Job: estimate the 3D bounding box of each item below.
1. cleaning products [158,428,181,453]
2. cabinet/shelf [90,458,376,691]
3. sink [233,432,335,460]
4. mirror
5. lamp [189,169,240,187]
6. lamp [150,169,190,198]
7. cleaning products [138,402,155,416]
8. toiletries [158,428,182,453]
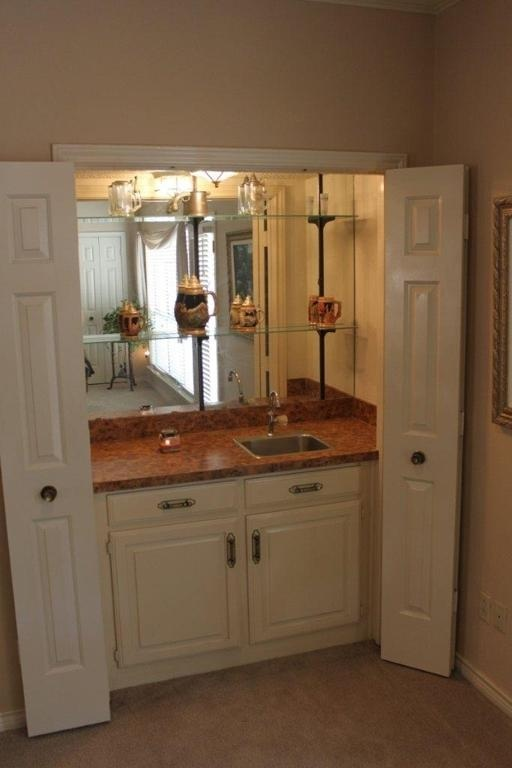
[{"bbox_3d":[-0.375,0.248,2.698,0.085,0.079,0.088,-2,11,-17],"label":"cleaning products"},{"bbox_3d":[-0.099,0.756,2.769,1.170,0.923,0.570,-4,9,-12],"label":"cabinet/shelf"},{"bbox_3d":[0.132,0.300,2.943,0.217,0.087,0.186,-1,6,-23],"label":"sink"},{"bbox_3d":[-0.163,-0.459,2.915,1.099,1.048,0.147,-2,6,-14],"label":"mirror"},{"bbox_3d":[-0.198,-0.980,2.937,0.225,0.069,0.069,-3,5,-11],"label":"lamp"},{"bbox_3d":[-0.386,-0.925,2.845,0.190,0.123,0.087,-3,5,-17],"label":"lamp"},{"bbox_3d":[-0.522,0.126,2.918,0.049,0.053,0.068,-2,6,-11],"label":"cleaning products"},{"bbox_3d":[-0.381,0.255,2.707,0.065,0.096,0.105,-1,8,-15],"label":"toiletries"}]
